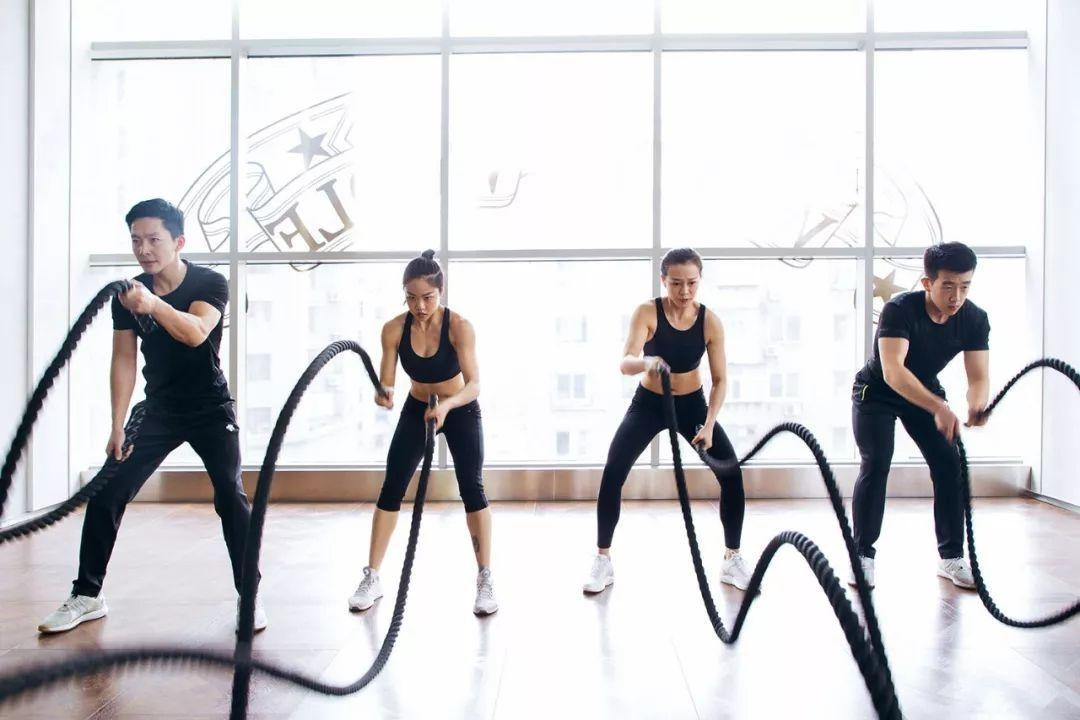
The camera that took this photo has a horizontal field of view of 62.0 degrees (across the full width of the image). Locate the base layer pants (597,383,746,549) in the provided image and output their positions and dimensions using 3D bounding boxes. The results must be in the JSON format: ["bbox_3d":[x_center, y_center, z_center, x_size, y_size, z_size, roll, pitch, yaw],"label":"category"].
[{"bbox_3d":[0.975,0.854,6.799,1.027,1.246,0.544,3,-11,2],"label":"base layer pants"}]

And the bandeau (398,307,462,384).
[{"bbox_3d":[-0.714,-0.102,5.893,0.414,0.610,0.313,-3,2,9],"label":"bandeau"}]

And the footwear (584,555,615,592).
[{"bbox_3d":[0.433,1.462,6.211,0.316,0.248,0.130,2,4,-38],"label":"footwear"}]

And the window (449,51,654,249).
[{"bbox_3d":[0.114,-1.827,8.003,1.585,1.615,0.163,1,-3,-4],"label":"window"}]

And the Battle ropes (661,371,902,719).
[{"bbox_3d":[1.504,1.028,5.617,0.707,0.298,2.731,8,12,-2],"label":"Battle ropes"}]

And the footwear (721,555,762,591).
[{"bbox_3d":[1.407,1.473,6.218,0.136,0.181,0.272,5,-6,-39],"label":"footwear"}]

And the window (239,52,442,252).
[{"bbox_3d":[-1.717,-1.854,8.040,1.818,1.846,0.207,0,3,2],"label":"window"}]

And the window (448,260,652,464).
[{"bbox_3d":[0.041,-0.090,8.882,1.895,1.980,1.701,0,1,-4],"label":"window"}]

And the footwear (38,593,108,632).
[{"bbox_3d":[-3.015,1.634,5.890,0.157,0.195,0.427,1,4,37],"label":"footwear"}]

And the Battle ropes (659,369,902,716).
[{"bbox_3d":[1.502,1.072,5.692,0.708,0.284,2.732,7,12,-2],"label":"Battle ropes"}]

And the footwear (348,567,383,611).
[{"bbox_3d":[-1.135,1.548,5.979,0.123,0.218,0.349,0,-5,12],"label":"footwear"}]

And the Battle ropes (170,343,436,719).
[{"bbox_3d":[-1.445,0.918,5.015,0.725,0.127,2.609,21,31,-17],"label":"Battle ropes"}]

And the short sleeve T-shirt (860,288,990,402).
[{"bbox_3d":[2.658,-0.112,6.273,0.679,0.683,0.397,22,9,-23],"label":"short sleeve T-shirt"}]
